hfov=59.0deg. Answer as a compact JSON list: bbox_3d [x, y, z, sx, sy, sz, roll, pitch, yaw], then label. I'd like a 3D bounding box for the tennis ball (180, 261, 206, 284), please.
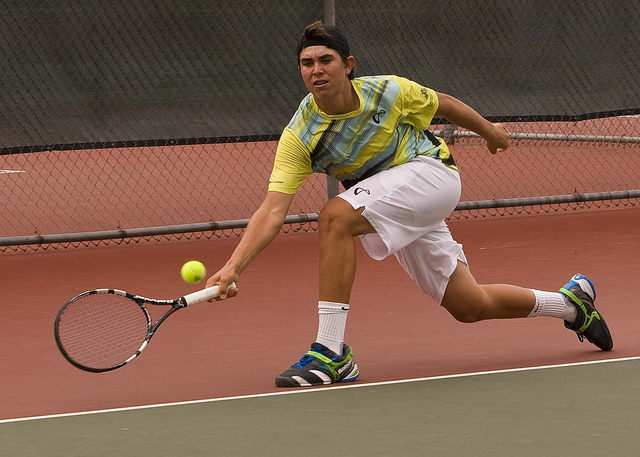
[{"bbox_3d":[-0.531,0.190,2.360,0.084,0.118,0.175,-2,9,-10],"label":"tennis ball"}]

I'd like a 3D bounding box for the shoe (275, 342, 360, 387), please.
[{"bbox_3d":[-0.001,0.579,2.407,0.367,0.172,0.142,-1,-9,-15],"label":"shoe"}]

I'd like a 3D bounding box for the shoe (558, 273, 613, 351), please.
[{"bbox_3d":[1.347,0.414,2.839,0.154,0.276,0.472,-8,-40,41],"label":"shoe"}]

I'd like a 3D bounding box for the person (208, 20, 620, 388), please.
[{"bbox_3d":[0.312,-0.115,2.483,1.652,1.506,0.382,-4,9,-20],"label":"person"}]
